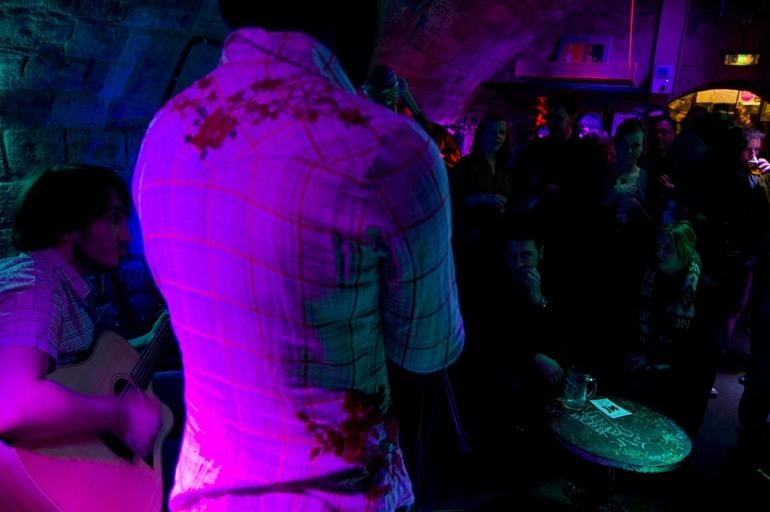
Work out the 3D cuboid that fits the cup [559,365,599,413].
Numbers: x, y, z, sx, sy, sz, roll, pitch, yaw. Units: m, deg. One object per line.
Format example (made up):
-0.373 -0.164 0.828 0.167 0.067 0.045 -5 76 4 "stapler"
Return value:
1.354 0.911 4.405 0.207 0.195 0.132 1 -11 37 "cup"
